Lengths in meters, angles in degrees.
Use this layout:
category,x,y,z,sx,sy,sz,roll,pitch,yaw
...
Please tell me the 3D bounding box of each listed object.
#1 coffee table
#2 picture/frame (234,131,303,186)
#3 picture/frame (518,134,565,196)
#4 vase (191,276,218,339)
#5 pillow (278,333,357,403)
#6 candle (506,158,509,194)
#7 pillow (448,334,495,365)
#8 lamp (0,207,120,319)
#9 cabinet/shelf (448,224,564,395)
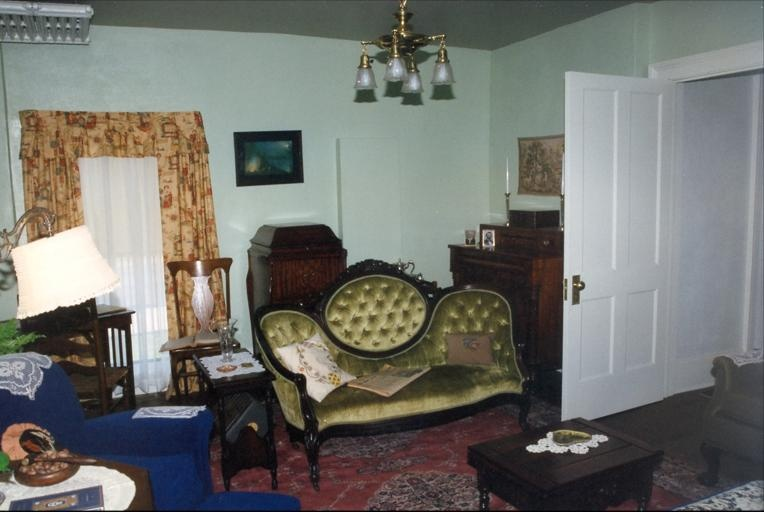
category,x,y,z,sx,sy,sz,roll,pitch,yaw
coffee table,1.213,1.176,3.980,0.931,0.450,0.657,-5,8,-27
picture/frame,-1.262,-1.074,6.354,0.639,0.463,0.043,-4,8,-20
picture/frame,1.777,-1.016,6.485,0.097,0.775,0.869,-3,7,-30
vase,-1.747,0.472,5.757,0.181,0.588,0.413,-5,9,-12
pillow,-0.552,0.916,4.925,0.420,0.437,0.527,4,11,39
candle,1.505,-0.964,7.018,0.040,0.381,0.085,-1,9,12
pillow,0.787,0.849,5.331,0.445,0.253,0.123,0,-9,4
lamp,-1.715,0.075,3.183,0.490,0.448,0.249,-8,10,-30
cabinet/shelf,1.248,0.550,5.669,0.625,1.593,1.716,-2,4,-19
